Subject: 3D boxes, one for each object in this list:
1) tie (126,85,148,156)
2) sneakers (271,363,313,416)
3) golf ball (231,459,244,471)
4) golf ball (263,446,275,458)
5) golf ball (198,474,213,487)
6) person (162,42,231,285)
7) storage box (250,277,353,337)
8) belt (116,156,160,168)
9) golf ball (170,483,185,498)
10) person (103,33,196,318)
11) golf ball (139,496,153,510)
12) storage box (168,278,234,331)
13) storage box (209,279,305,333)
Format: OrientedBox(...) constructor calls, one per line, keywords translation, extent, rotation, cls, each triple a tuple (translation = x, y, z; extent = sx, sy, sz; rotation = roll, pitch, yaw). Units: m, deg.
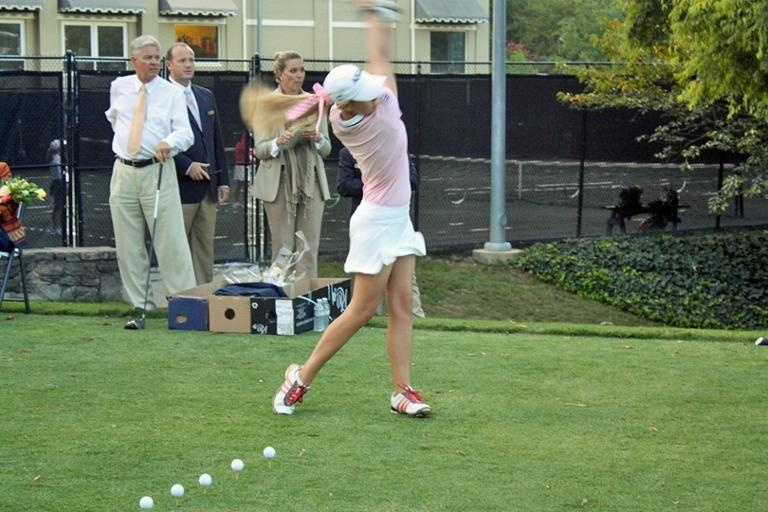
OrientedBox(translation=(-2.967, -1.631, 14.705), extent=(0.226, 0.841, 0.115), rotation=(0, 2, -13), cls="tie")
OrientedBox(translation=(-0.930, 1.382, 12.314), extent=(0.256, 0.619, 0.222), rotation=(-3, -40, 26), cls="sneakers")
OrientedBox(translation=(-1.362, 1.947, 11.375), extent=(0.096, 0.084, 0.100), rotation=(-1, 4, 0), cls="golf ball")
OrientedBox(translation=(-1.079, 1.865, 11.592), extent=(0.091, 0.102, 0.096), rotation=(4, -11, 1), cls="golf ball")
OrientedBox(translation=(-1.630, 2.063, 11.193), extent=(0.109, 0.131, 0.105), rotation=(-1, 14, 0), cls="golf ball")
OrientedBox(translation=(-2.488, -1.091, 15.680), extent=(0.845, 3.019, 0.895), rotation=(4, -6, -43), cls="person")
OrientedBox(translation=(-1.009, 0.596, 14.888), extent=(0.846, 0.444, 1.588), rotation=(5, 11, 34), cls="storage box")
OrientedBox(translation=(-2.999, -1.123, 14.846), extent=(0.513, 0.113, 0.089), rotation=(1, 2, 14), cls="belt")
OrientedBox(translation=(-1.875, 2.140, 11.088), extent=(0.114, 0.173, 0.118), rotation=(0, 10, 0), cls="golf ball")
OrientedBox(translation=(-2.865, -1.010, 15.070), extent=(1.521, 3.280, 1.003), rotation=(11, 17, 35), cls="person")
OrientedBox(translation=(-2.143, 2.242, 11.047), extent=(0.108, 0.089, 0.112), rotation=(0, 10, 0), cls="golf ball")
OrientedBox(translation=(-2.281, 0.592, 14.578), extent=(0.420, 0.561, 0.522), rotation=(4, -3, 0), cls="storage box")
OrientedBox(translation=(-1.457, 0.579, 14.666), extent=(1.018, 0.589, 0.648), rotation=(1, 3, 16), cls="storage box")
